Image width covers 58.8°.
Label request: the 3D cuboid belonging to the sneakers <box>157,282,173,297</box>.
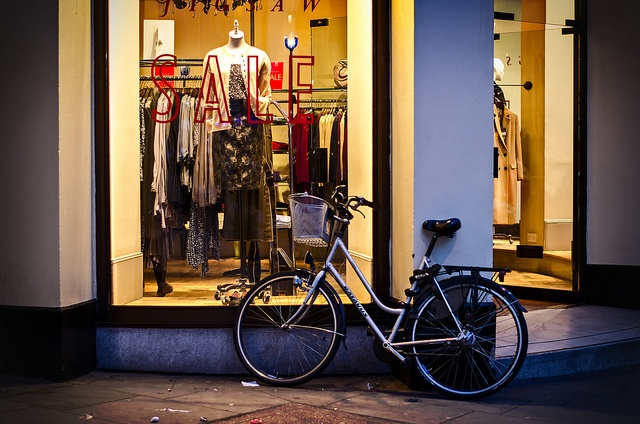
[{"bbox_3d":[-1.568,0.769,5.755,0.147,0.104,0.225,-1,5,-15],"label":"sneakers"}]

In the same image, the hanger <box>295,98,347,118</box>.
[{"bbox_3d":[0.041,-1.316,7.195,0.589,0.270,0.476,0,4,-2],"label":"hanger"}]
